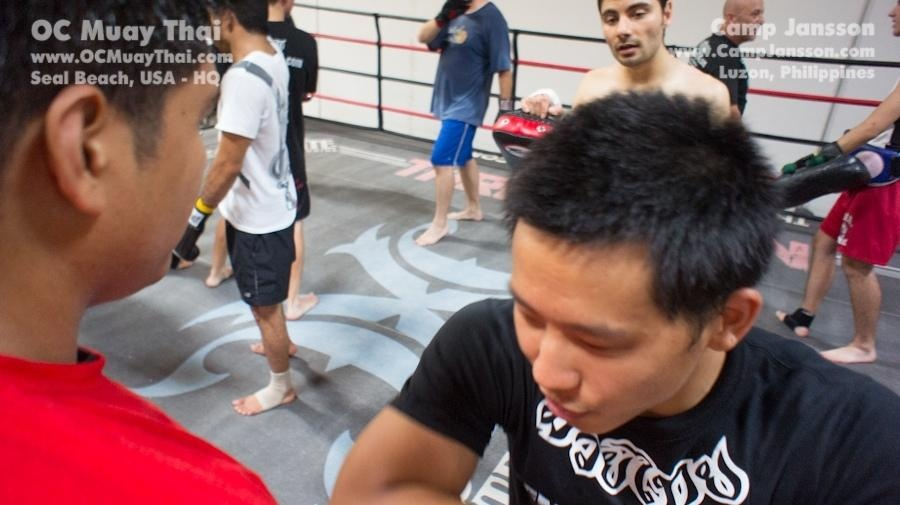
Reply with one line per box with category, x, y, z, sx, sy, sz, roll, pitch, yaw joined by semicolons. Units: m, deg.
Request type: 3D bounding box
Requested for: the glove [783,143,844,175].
glove;2.303;-0.586;3.684;0.252;0.088;0.257;-34;1;30
